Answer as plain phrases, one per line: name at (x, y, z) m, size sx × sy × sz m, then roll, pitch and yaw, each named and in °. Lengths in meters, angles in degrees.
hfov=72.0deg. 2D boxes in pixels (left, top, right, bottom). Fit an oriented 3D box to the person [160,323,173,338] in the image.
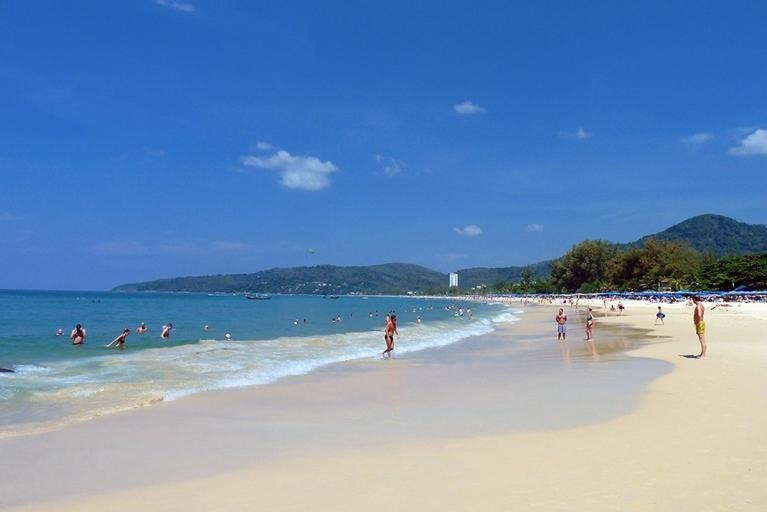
person at (-15.143, 5.188, 36.852) m, size 0.490 × 1.060 × 2.351 m, roll -1°, pitch -2°, yaw -19°
